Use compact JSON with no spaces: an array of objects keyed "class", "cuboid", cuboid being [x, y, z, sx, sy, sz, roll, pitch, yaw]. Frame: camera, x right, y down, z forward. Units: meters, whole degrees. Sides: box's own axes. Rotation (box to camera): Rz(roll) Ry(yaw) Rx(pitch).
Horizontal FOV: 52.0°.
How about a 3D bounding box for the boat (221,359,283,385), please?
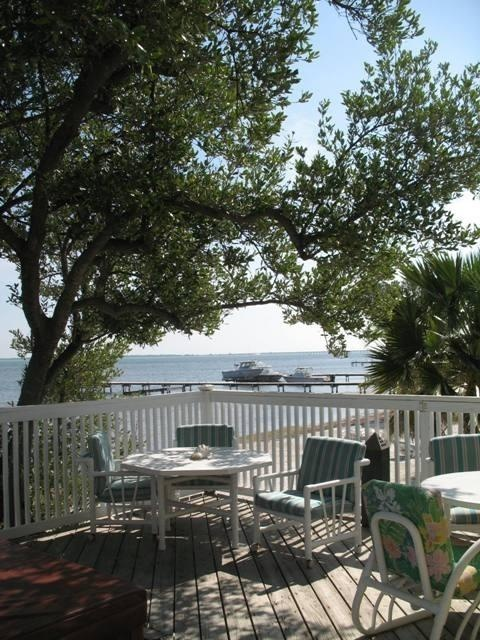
[{"class":"boat","cuboid":[0.682,4.840,42.499,6.941,2.632,2.214,-5,-2,32]}]
